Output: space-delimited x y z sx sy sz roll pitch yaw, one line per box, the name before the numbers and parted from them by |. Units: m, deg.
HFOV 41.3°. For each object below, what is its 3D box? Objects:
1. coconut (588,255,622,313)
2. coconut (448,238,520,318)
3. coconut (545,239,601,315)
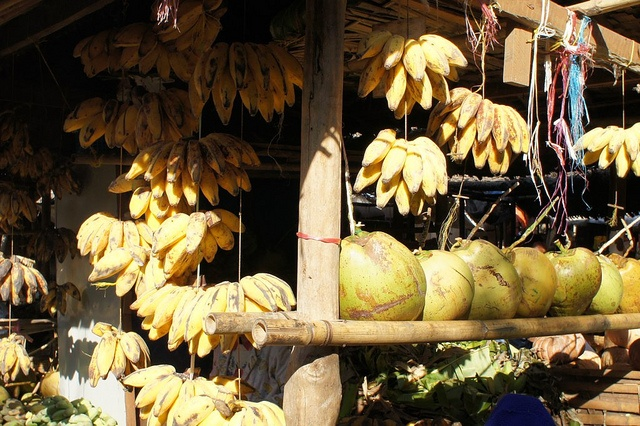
coconut | 2.252 0.517 6.599 0.303 0.479 0.349 -8 0 24
coconut | 1.201 0.447 6.145 0.456 0.637 0.441 0 -12 -32
coconut | 1.842 0.479 6.445 0.371 0.593 0.450 -4 -3 11
